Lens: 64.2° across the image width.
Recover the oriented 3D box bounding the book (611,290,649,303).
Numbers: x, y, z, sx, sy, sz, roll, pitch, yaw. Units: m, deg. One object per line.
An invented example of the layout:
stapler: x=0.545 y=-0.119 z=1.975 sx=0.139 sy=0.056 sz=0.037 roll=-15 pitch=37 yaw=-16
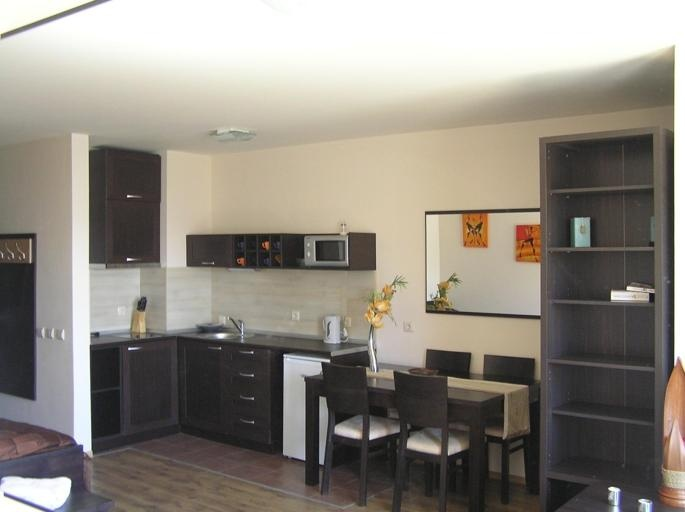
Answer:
book: x=1.905 y=0.267 z=3.609 sx=0.234 sy=0.080 sz=0.024 roll=0 pitch=1 yaw=39

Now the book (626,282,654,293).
book: x=1.953 y=0.208 z=3.594 sx=0.158 sy=0.070 sz=0.048 roll=0 pitch=1 yaw=35

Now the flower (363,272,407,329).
flower: x=0.432 y=0.445 z=5.302 sx=0.376 sy=0.505 sz=0.679 roll=-1 pitch=1 yaw=6

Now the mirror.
mirror: x=1.323 y=0.059 z=4.975 sx=1.025 sy=0.878 sz=0.038 roll=1 pitch=2 yaw=34

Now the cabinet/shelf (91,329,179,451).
cabinet/shelf: x=-2.295 y=1.505 z=5.980 sx=0.558 sy=1.026 sz=1.109 roll=-5 pitch=-5 yaw=44
